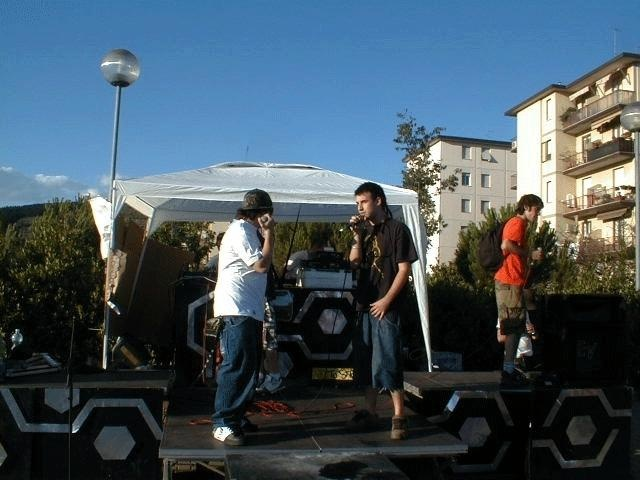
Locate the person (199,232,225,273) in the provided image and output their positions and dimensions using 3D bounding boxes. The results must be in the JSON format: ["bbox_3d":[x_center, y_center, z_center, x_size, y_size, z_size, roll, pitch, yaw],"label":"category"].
[{"bbox_3d":[-2.312,0.230,14.865,0.686,0.843,0.183,-5,-17,26],"label":"person"}]

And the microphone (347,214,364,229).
[{"bbox_3d":[0.408,-0.214,8.383,0.178,0.121,0.261,4,13,1],"label":"microphone"}]

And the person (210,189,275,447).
[{"bbox_3d":[-0.843,0.787,7.670,0.594,2.694,0.403,2,-5,-10],"label":"person"}]

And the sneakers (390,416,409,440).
[{"bbox_3d":[0.834,2.007,7.646,0.173,0.240,0.108,1,-5,4],"label":"sneakers"}]

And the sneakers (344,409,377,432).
[{"bbox_3d":[0.444,1.988,7.857,0.304,0.162,0.171,7,-21,-17],"label":"sneakers"}]

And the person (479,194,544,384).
[{"bbox_3d":[2.428,0.565,9.135,0.784,2.424,0.793,0,-6,19],"label":"person"}]

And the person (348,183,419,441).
[{"bbox_3d":[0.669,0.748,7.890,0.726,2.772,0.377,0,-5,11],"label":"person"}]

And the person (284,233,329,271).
[{"bbox_3d":[-0.179,0.221,12.717,0.484,0.440,1.132,-6,20,-45],"label":"person"}]

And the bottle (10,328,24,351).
[{"bbox_3d":[-3.833,1.254,9.013,0.125,0.251,0.281,4,-6,-22],"label":"bottle"}]

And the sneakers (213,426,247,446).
[{"bbox_3d":[-0.950,2.025,7.413,0.350,0.191,0.137,-3,-10,33],"label":"sneakers"}]
